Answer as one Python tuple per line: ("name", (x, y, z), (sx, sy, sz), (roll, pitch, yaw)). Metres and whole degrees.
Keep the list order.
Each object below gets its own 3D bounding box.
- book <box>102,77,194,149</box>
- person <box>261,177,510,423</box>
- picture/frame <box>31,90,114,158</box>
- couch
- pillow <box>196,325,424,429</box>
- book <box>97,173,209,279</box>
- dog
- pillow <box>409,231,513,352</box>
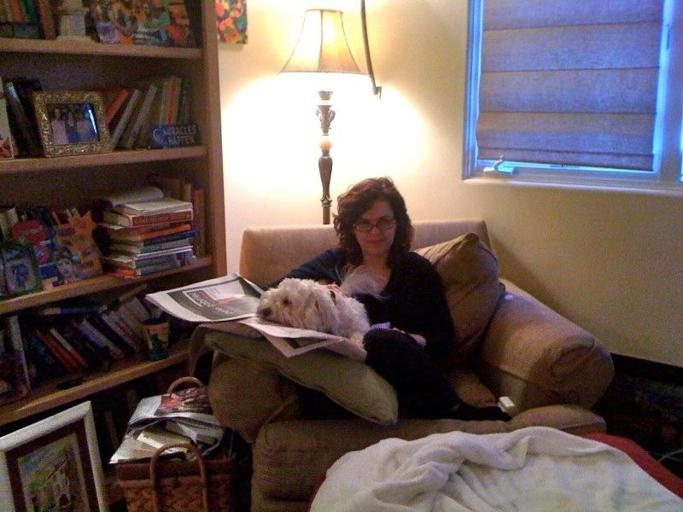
("book", (-0.757, -0.562, 2.190), (0.307, 0.300, 0.072), (-10, 7, -28))
("person", (0.069, 0.075, 2.132), (0.654, 0.731, 0.962), (-4, 19, -6))
("picture/frame", (-0.970, -0.468, 1.976), (0.259, 0.251, 0.027), (-11, 3, -43))
("couch", (0.232, 0.430, 2.079), (1.110, 0.661, 1.026), (-4, 25, -1))
("pillow", (-0.127, 0.349, 1.702), (0.598, 0.248, 0.149), (2, 18, 12))
("book", (-0.772, -0.132, 2.270), (0.437, 0.336, 0.271), (-18, 23, -42))
("dog", (-0.071, 0.180, 1.781), (0.211, 0.132, 0.306), (-4, -3, 40))
("pillow", (0.480, 0.158, 2.220), (0.402, 0.390, 0.183), (-18, -11, -12))
